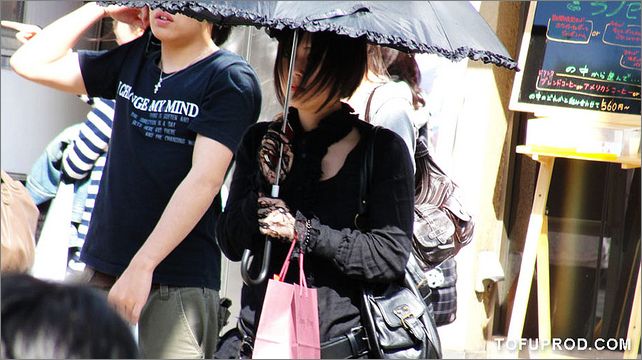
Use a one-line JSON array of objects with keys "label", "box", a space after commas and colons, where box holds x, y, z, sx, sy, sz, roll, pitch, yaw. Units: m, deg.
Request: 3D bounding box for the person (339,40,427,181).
[{"label": "person", "box": [0.465, -0.532, 6.127, 0.478, 0.802, 0.864, -13, 34, -40]}]

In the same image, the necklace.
[{"label": "necklace", "box": [-1.048, -0.919, 5.996, 0.325, 0.440, 0.155, 14, 1, 1]}]

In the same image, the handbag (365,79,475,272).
[{"label": "handbag", "box": [0.964, 0.032, 7.086, 0.645, 1.276, 0.900, -15, 15, 6]}]

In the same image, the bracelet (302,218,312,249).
[{"label": "bracelet", "box": [-0.097, 0.363, 5.470, 0.057, 0.151, 0.112, 8, -9, -8]}]
